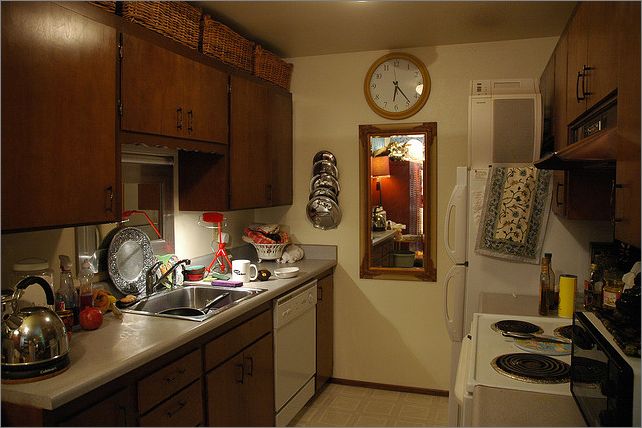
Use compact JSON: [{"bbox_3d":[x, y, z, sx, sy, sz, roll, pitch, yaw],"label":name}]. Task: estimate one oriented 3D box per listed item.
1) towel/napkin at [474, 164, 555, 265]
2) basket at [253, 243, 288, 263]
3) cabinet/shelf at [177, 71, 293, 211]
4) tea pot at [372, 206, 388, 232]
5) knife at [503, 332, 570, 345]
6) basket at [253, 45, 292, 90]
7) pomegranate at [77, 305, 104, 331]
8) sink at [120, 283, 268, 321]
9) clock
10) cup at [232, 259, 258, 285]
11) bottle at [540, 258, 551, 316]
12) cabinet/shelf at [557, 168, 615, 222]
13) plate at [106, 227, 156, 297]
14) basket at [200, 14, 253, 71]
[{"bbox_3d":[1.312,0.010,3.120,0.540,0.855,0.012,9,6,21],"label":"towel/napkin"},{"bbox_3d":[-0.452,0.327,4.103,0.216,0.100,0.192,1,-4,-43],"label":"basket"},{"bbox_3d":[-0.671,-0.553,3.525,0.433,1.033,1.176,0,2,15],"label":"cabinet/shelf"},{"bbox_3d":[0.525,0.042,4.193,0.136,0.204,0.210,-1,-7,4],"label":"tea pot"},{"bbox_3d":[1.123,0.645,2.442,0.424,0.036,0.097,1,5,6],"label":"knife"},{"bbox_3d":[-0.408,-1.249,4.021,0.207,0.148,0.334,11,6,24],"label":"basket"},{"bbox_3d":[-1.242,0.561,2.524,0.113,0.115,0.087,-3,5,-23],"label":"pomegranate"},{"bbox_3d":[-0.900,0.581,3.100,0.330,0.159,0.425,3,2,19],"label":"sink"},{"bbox_3d":[0.694,-1.143,4.109,0.592,0.629,0.045,1,1,16],"label":"clock"},{"bbox_3d":[-0.572,0.418,3.467,0.193,0.155,0.125,5,-7,-17],"label":"cup"},{"bbox_3d":[1.360,0.426,2.838,0.061,0.352,0.115,1,5,27],"label":"bottle"},{"bbox_3d":[1.573,-0.109,2.786,0.319,0.324,0.419,1,5,26],"label":"cabinet/shelf"},{"bbox_3d":[-1.200,0.300,3.004,0.059,0.446,0.372,0,5,22],"label":"plate"},{"bbox_3d":[-0.676,-1.218,3.417,0.218,0.173,0.387,8,4,25],"label":"basket"}]
